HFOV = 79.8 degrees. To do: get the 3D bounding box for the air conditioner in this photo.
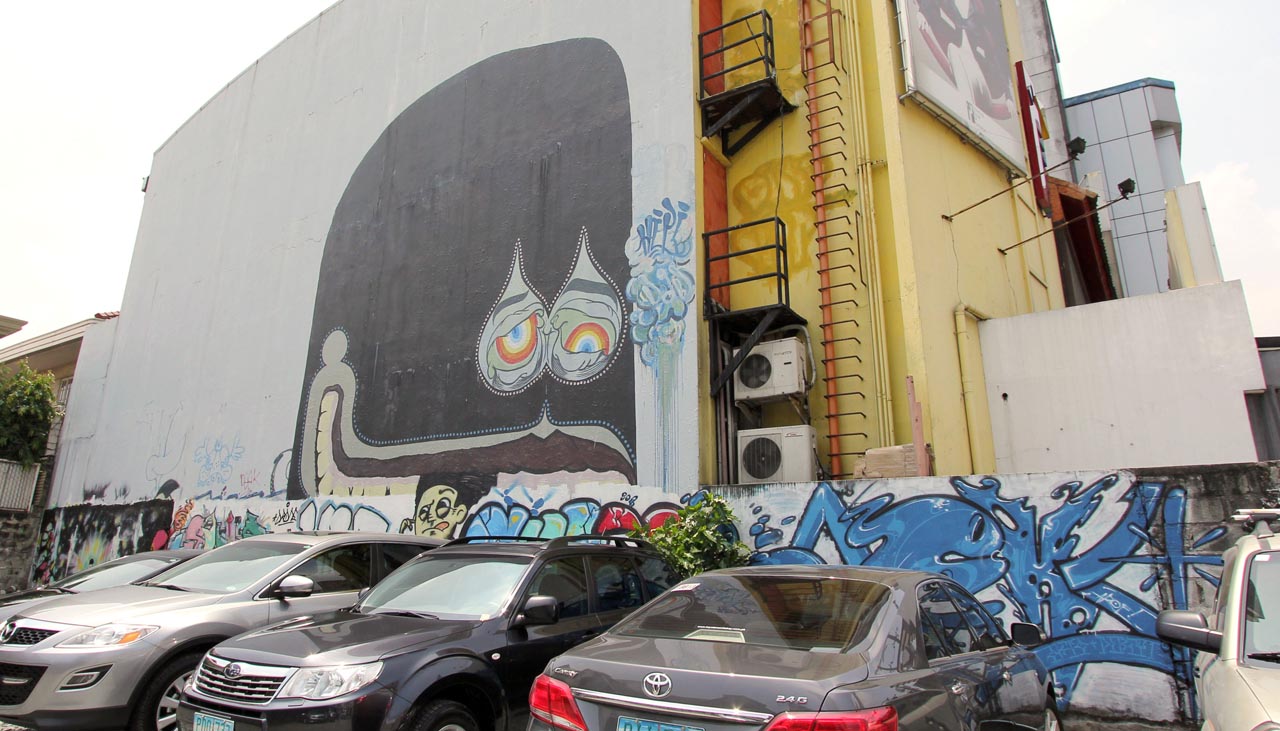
[{"bbox_3d":[2.849,0.884,16.592,1.579,3.353,1.086,-11,-14,36],"label":"air conditioner"}]
